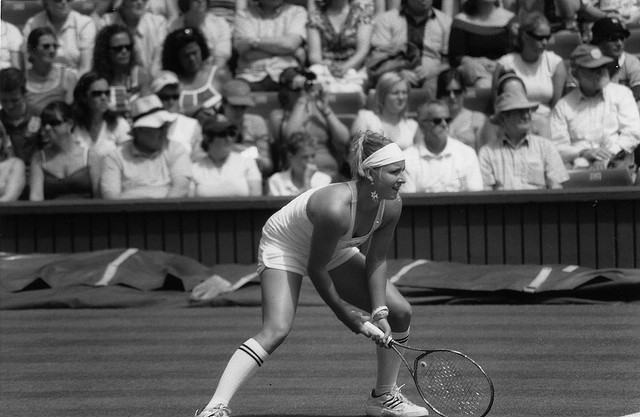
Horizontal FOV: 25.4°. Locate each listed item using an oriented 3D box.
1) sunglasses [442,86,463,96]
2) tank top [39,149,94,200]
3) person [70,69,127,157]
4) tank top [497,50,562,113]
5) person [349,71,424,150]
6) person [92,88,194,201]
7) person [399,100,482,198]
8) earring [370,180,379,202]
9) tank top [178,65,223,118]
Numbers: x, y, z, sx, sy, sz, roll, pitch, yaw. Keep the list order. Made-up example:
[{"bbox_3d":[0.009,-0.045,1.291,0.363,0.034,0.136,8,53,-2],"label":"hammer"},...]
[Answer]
[{"bbox_3d":[1.705,-1.485,18.362,0.269,0.078,0.091,-7,53,-11],"label":"sunglasses"},{"bbox_3d":[-3.233,-0.365,18.091,0.479,0.450,0.693,-1,80,-8],"label":"tank top"},{"bbox_3d":[-2.949,-1.151,18.764,0.652,1.004,0.476,20,88,12],"label":"person"},{"bbox_3d":[2.757,-1.606,18.723,0.845,0.467,0.768,-5,103,-14],"label":"tank top"},{"bbox_3d":[0.883,-1.236,18.293,1.116,0.595,1.035,4,88,-31],"label":"person"},{"bbox_3d":[-2.149,-0.713,17.958,1.086,0.730,1.200,14,52,5],"label":"person"},{"bbox_3d":[1.487,-0.680,17.833,1.270,0.970,1.675,-2,86,1],"label":"person"},{"bbox_3d":[0.508,-0.162,13.699,0.068,0.135,0.151,-16,56,-17],"label":"earring"},{"bbox_3d":[-1.601,-1.512,18.639,0.558,0.311,0.608,-1,52,-7],"label":"tank top"}]
